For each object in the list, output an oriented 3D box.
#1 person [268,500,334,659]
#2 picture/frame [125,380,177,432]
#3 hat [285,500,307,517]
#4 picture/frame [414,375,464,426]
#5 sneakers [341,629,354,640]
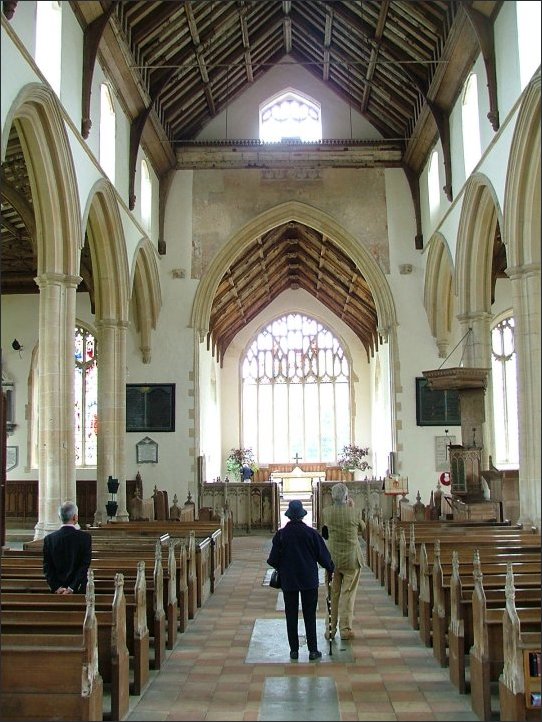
[{"bbox_3d":[0.224,1.618,5.002,0.474,1.135,0.410,-1,-7,6],"label":"person"},{"bbox_3d":[-2.748,1.077,15.128,0.916,1.061,0.088,0,-13,-1],"label":"picture/frame"},{"bbox_3d":[0.189,1.109,5.053,0.116,0.099,0.168,2,25,4],"label":"hat"},{"bbox_3d":[3.422,0.857,13.498,0.929,1.255,0.052,0,-6,-1],"label":"picture/frame"},{"bbox_3d":[0.629,2.253,5.535,0.127,0.111,0.045,1,0,-36],"label":"sneakers"}]
